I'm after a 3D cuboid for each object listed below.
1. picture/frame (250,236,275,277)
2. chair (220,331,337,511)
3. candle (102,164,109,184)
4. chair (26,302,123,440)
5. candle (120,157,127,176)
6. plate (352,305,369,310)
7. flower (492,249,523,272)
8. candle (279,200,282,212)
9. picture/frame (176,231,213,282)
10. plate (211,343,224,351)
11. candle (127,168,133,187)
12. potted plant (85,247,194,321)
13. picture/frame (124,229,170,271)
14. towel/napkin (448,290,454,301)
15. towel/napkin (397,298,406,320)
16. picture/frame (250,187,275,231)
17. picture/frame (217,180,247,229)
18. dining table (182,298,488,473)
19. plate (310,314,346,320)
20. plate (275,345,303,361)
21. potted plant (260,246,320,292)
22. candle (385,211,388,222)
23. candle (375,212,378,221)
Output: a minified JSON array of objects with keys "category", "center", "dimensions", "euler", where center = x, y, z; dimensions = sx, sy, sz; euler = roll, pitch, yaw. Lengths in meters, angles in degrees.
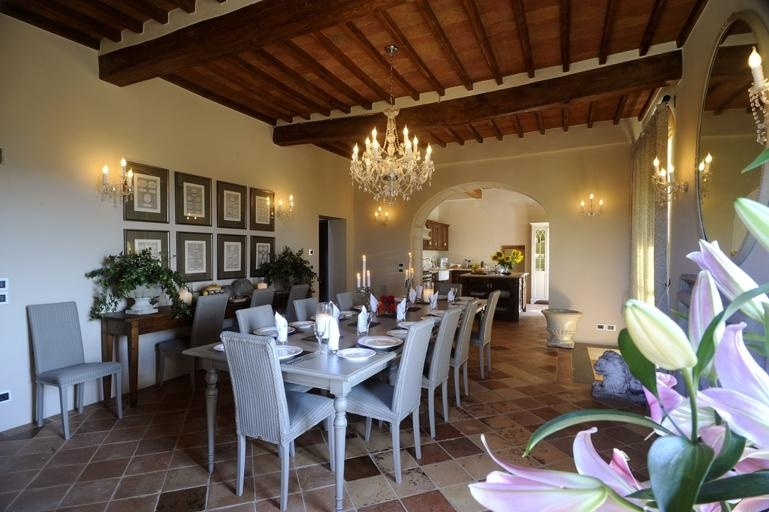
[{"category":"picture/frame","center":[-1.830,0.017,7.208],"dimensions":[0.045,0.653,0.569],"euler":[-2,-5,29]},{"category":"chair","center":[-0.852,1.275,4.024],"dimensions":[0.846,1.374,0.732],"euler":[-5,15,-18]},{"category":"candle","center":[-3.134,-0.923,5.452],"dimensions":[0.089,0.198,0.068],"euler":[-11,18,-38]},{"category":"chair","center":[-3.254,1.094,4.957],"dimensions":[0.810,1.186,0.659],"euler":[7,16,25]},{"category":"candle","center":[-2.962,-1.022,5.514],"dimensions":[0.074,0.173,0.241],"euler":[-8,16,-28]},{"category":"plate","center":[-0.272,0.605,5.711],"dimensions":[0.146,0.020,0.148],"euler":[1,2,37]},{"category":"flower","center":[2.719,0.063,10.787],"dimensions":[0.558,0.408,0.559],"euler":[-2,-1,-20]},{"category":"candle","center":[-1.636,-0.803,7.652],"dimensions":[0.028,0.150,0.108],"euler":[4,15,15]},{"category":"picture/frame","center":[-2.482,-0.001,6.274],"dimensions":[0.041,0.845,0.639],"euler":[2,3,33]},{"category":"plate","center":[-1.466,0.807,4.272],"dimensions":[0.107,0.030,0.106],"euler":[0,4,-28]},{"category":"candle","center":[-2.934,-0.911,5.609],"dimensions":[0.058,0.193,0.147],"euler":[-6,15,-22]},{"category":"potted plant","center":[-2.845,0.208,5.615],"dimensions":[0.848,0.655,0.876],"euler":[-1,6,-23]},{"category":"picture/frame","center":[-2.808,-0.075,5.675],"dimensions":[0.038,0.559,0.474],"euler":[-3,-5,34]},{"category":"towel/napkin","center":[0.887,0.522,6.419],"dimensions":[0.086,0.124,0.048],"euler":[11,3,12]},{"category":"towel/napkin","center":[0.198,0.575,5.185],"dimensions":[0.067,0.187,0.142],"euler":[9,-2,-17]},{"category":"picture/frame","center":[-1.851,-0.701,7.281],"dimensions":[0.050,0.788,0.644],"euler":[-3,-6,30]},{"category":"picture/frame","center":[-2.153,-0.723,6.793],"dimensions":[0.056,0.815,0.686],"euler":[-3,-4,32]},{"category":"dining table","center":[-0.707,0.709,4.325],"dimensions":[1.337,1.018,2.130],"euler":[0,-1,26]},{"category":"plate","center":[-0.524,0.578,4.629],"dimensions":[0.197,0.045,0.201],"euler":[-1,-1,7]},{"category":"plate","center":[-0.822,0.825,4.152],"dimensions":[0.159,0.022,0.157],"euler":[-2,7,-34]},{"category":"potted plant","center":[-1.432,0.206,7.384],"dimensions":[0.671,0.572,0.678],"euler":[1,-4,39]},{"category":"candle","center":[0.051,-0.771,9.268],"dimensions":[0.061,0.155,0.035],"euler":[1,14,5]},{"category":"candle","center":[-0.137,-0.782,9.309],"dimensions":[0.075,0.144,0.034],"euler":[7,16,26]}]
